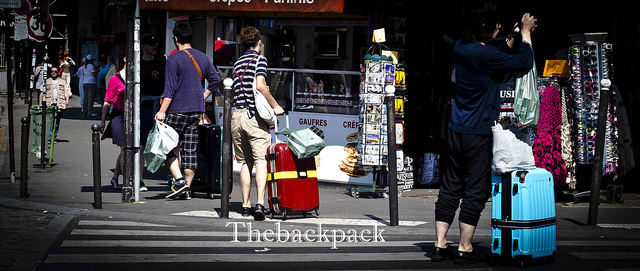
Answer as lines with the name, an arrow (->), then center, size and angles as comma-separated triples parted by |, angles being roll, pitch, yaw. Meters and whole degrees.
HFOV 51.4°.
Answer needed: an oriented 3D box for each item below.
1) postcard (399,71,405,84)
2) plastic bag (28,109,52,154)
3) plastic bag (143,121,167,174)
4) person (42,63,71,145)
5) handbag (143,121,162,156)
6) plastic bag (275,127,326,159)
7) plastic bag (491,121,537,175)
postcard -> 2.473, -1.752, 20.078 | 0.178, 0.287, 0.076 | 1, 2, -42
plastic bag -> -9.474, -0.114, 22.494 | 0.709, 1.522, 1.180 | 2, 2, -18
plastic bag -> -4.573, 0.325, 18.505 | 0.651, 1.411, 0.435 | 4, 2, 31
person -> -9.919, -1.268, 24.841 | 1.171, 2.456, 0.851 | 1, 4, -25
handbag -> -4.631, 0.091, 18.419 | 0.282, 0.971, 0.464 | 2, 2, -40
plastic bag -> -0.544, 0.153, 17.983 | 0.898, 0.352, 1.009 | -22, 57, -43
plastic bag -> 4.676, 0.277, 16.276 | 1.714, 1.248, 0.716 | 0, 0, -43
